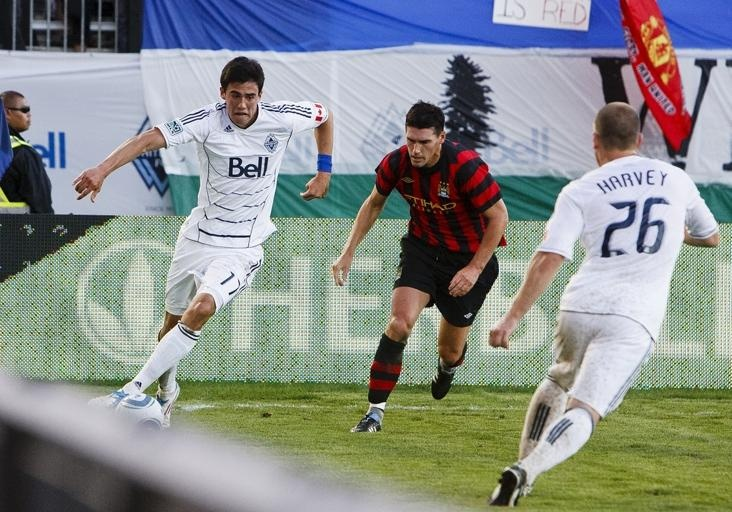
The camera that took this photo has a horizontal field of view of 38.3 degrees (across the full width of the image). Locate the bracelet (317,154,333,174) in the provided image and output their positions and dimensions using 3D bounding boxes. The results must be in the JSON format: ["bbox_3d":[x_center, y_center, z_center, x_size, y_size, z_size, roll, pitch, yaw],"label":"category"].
[{"bbox_3d":[-0.299,-0.702,8.059,0.129,0.142,0.133,0,-2,-15],"label":"bracelet"}]

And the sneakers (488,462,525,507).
[{"bbox_3d":[0.862,1.360,6.256,0.136,0.331,0.137,27,20,32],"label":"sneakers"}]

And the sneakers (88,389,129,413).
[{"bbox_3d":[-1.689,0.952,7.004,0.210,0.120,0.559,0,9,-12],"label":"sneakers"}]

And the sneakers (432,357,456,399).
[{"bbox_3d":[0.658,0.943,8.603,0.130,0.161,0.387,18,49,-3],"label":"sneakers"}]

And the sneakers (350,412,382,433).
[{"bbox_3d":[0.012,1.228,7.694,0.260,0.116,0.091,8,-11,-44],"label":"sneakers"}]

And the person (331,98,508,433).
[{"bbox_3d":[0.445,0.059,7.913,1.153,2.389,0.900,2,7,0],"label":"person"}]

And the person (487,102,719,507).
[{"bbox_3d":[1.418,0.280,6.441,1.482,2.405,0.571,-3,9,-32],"label":"person"}]

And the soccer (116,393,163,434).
[{"bbox_3d":[-1.518,1.051,7.063,0.315,0.244,0.334,0,8,-13],"label":"soccer"}]
